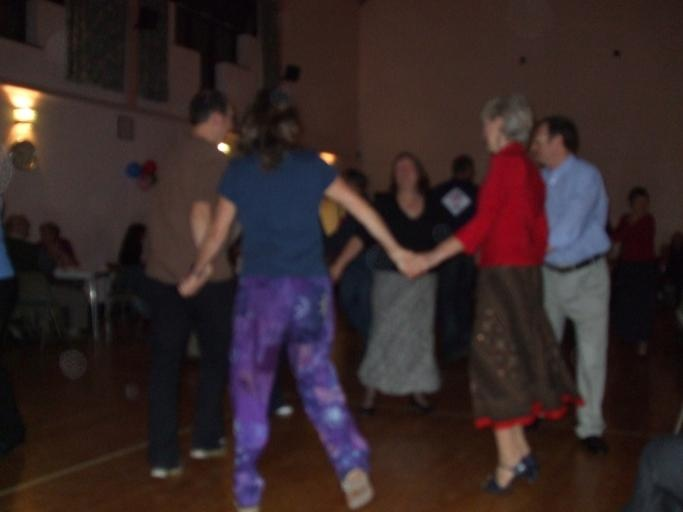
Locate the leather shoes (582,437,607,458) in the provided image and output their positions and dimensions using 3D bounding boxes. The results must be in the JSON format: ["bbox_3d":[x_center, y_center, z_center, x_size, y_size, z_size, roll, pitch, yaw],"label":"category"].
[{"bbox_3d":[1.405,1.041,3.174,0.151,0.078,0.123,1,4,35],"label":"leather shoes"}]

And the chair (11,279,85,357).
[{"bbox_3d":[-3.181,0.659,6.125,0.735,1.044,0.783,0,-1,-1],"label":"chair"}]

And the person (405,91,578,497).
[{"bbox_3d":[0.772,0.027,2.662,0.684,1.551,0.248,-2,4,-11],"label":"person"}]

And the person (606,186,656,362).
[{"bbox_3d":[3.090,0.141,5.973,0.408,1.700,0.574,1,4,28],"label":"person"}]

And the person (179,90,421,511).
[{"bbox_3d":[-0.218,0.202,2.470,0.822,1.789,0.260,-1,4,-10],"label":"person"}]

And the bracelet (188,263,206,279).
[{"bbox_3d":[-0.669,0.067,2.587,0.062,0.052,0.065,-2,-1,-18],"label":"bracelet"}]
